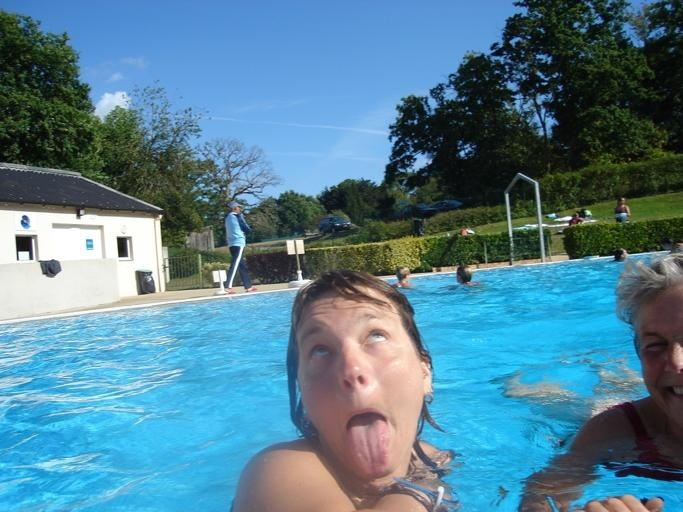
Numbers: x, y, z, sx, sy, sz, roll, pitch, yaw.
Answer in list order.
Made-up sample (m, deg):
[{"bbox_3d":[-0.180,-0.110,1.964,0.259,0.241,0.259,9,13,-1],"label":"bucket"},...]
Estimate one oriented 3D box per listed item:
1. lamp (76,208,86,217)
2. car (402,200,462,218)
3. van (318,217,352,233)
[{"bbox_3d":[-9.086,-1.507,18.099,0.329,0.248,0.324,-5,8,-36],"label":"lamp"},{"bbox_3d":[7.229,-3.735,40.785,4.239,1.041,2.189,-6,5,3],"label":"car"},{"bbox_3d":[-0.729,-2.770,45.886,2.634,0.926,1.528,-5,1,34],"label":"van"}]
